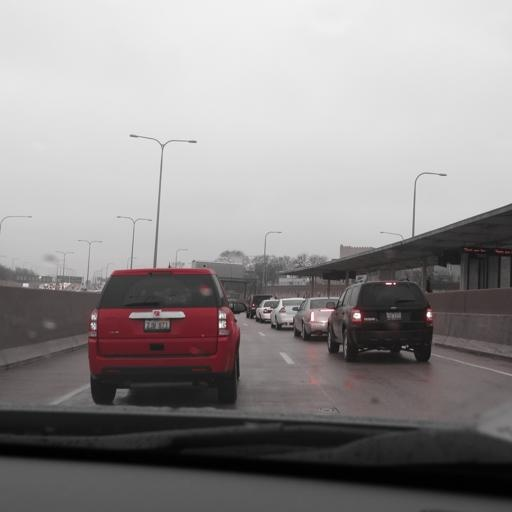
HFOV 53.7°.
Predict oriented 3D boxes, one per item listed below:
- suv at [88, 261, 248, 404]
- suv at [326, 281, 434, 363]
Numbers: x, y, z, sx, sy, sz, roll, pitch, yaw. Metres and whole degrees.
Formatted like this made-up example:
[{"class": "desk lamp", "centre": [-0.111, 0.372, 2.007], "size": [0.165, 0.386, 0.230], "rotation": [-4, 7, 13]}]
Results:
[{"class": "suv", "centre": [-1.170, 1.076, 7.606], "size": [1.294, 1.304, 2.402], "rotation": [0, -2, 1]}, {"class": "suv", "centre": [3.180, 1.494, 12.420], "size": [1.327, 1.524, 3.039], "rotation": [1, -3, -2]}]
